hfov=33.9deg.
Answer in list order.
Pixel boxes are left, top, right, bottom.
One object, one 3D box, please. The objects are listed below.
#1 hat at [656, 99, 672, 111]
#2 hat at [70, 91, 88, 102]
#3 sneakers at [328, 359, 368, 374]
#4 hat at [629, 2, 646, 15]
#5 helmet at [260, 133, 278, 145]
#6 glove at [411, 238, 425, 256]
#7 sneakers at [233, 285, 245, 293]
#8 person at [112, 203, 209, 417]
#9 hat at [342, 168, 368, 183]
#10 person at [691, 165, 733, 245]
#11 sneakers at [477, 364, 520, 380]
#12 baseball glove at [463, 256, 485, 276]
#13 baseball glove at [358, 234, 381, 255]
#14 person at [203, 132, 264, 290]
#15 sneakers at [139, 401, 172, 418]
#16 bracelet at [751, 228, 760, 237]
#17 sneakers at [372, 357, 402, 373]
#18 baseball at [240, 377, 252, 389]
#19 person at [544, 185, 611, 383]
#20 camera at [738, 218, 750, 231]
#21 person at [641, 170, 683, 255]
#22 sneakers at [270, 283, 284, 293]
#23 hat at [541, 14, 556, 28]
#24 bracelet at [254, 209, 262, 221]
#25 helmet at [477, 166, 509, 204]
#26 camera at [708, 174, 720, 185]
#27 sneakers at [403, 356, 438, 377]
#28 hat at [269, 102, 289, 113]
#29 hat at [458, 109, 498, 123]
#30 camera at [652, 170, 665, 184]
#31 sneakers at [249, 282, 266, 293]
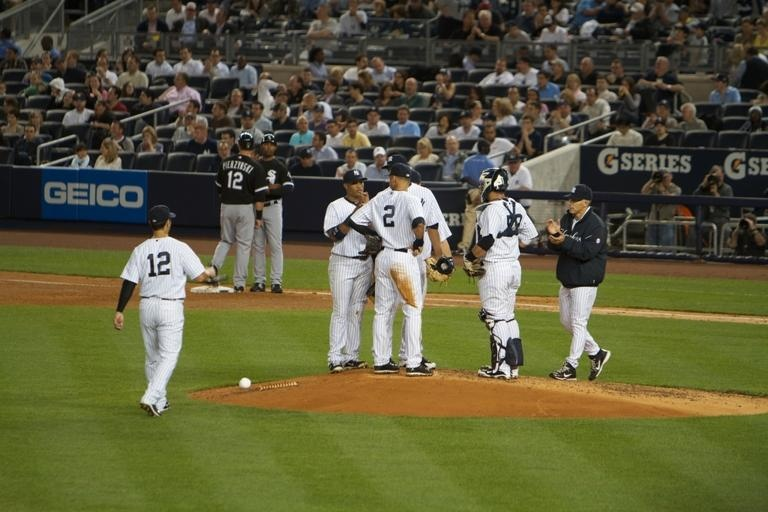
[{"bbox_3d":[6.812,-3.684,30.739,0.278,0.310,0.357,4,18,11],"label":"hat"},{"bbox_3d":[-8.035,-4.131,32.759,0.272,0.309,0.328,2,15,7],"label":"hat"},{"bbox_3d":[-0.614,1.779,20.331,0.664,0.277,0.217,-9,13,-9],"label":"sneakers"},{"bbox_3d":[6.953,-6.724,34.323,0.469,0.233,0.338,-3,11,-43],"label":"hat"},{"bbox_3d":[-2.314,-2.337,24.718,0.316,0.206,0.435,0,-5,-5],"label":"helmet"},{"bbox_3d":[0.496,-0.141,19.726,0.166,0.280,0.287,2,7,1],"label":"glove"},{"bbox_3d":[-2.950,0.660,25.113,0.263,0.105,0.089,6,21,8],"label":"sneakers"},{"bbox_3d":[-3.330,0.833,18.496,1.281,3.061,0.597,0,7,-9],"label":"person"},{"bbox_3d":[-0.577,-1.239,20.333,0.314,0.207,0.419,-11,1,-31],"label":"hat"},{"bbox_3d":[7.593,-1.209,29.083,0.784,1.666,0.725,3,8,14],"label":"person"},{"bbox_3d":[1.769,1.850,20.031,0.578,0.250,0.237,8,8,7],"label":"sneakers"},{"bbox_3d":[1.403,0.171,20.465,0.265,0.284,0.751,-11,6,-24],"label":"baseball glove"},{"bbox_3d":[-0.249,-0.160,19.965,0.324,0.312,0.209,-1,0,16],"label":"baseball glove"},{"bbox_3d":[-2.847,-0.857,24.434,1.040,3.032,0.808,0,7,-8],"label":"person"},{"bbox_3d":[-3.447,2.261,18.592,0.183,0.209,0.506,15,-3,30],"label":"sneakers"},{"bbox_3d":[8.504,-0.533,28.687,0.266,0.155,0.132,-3,8,-34],"label":"bracelet"},{"bbox_3d":[0.005,1.751,20.053,0.473,0.229,0.174,-8,33,-14],"label":"sneakers"},{"bbox_3d":[-2.215,2.010,19.680,0.160,0.119,0.160,31,32,30],"label":"baseball"},{"bbox_3d":[3.121,0.453,20.293,1.019,3.137,0.729,2,7,6],"label":"person"},{"bbox_3d":[8.158,-0.703,28.556,0.222,0.160,0.221,-17,25,-36],"label":"camera"},{"bbox_3d":[6.474,-1.022,29.442,0.776,1.843,0.909,3,7,10],"label":"person"},{"bbox_3d":[-2.208,0.655,25.213,0.187,0.170,0.394,0,-5,-7],"label":"sneakers"},{"bbox_3d":[4.399,-6.279,33.857,0.494,0.330,0.286,8,10,44],"label":"hat"},{"bbox_3d":[-2.459,-0.791,24.526,0.186,0.190,0.173,8,16,13],"label":"bracelet"},{"bbox_3d":[1.691,-1.191,20.228,0.559,0.503,0.421,8,14,24],"label":"helmet"},{"bbox_3d":[7.564,-1.752,28.966,0.278,0.203,0.098,3,7,10],"label":"camera"},{"bbox_3d":[0.559,1.769,19.912,0.584,0.255,0.210,-4,6,-40],"label":"sneakers"},{"bbox_3d":[-2.674,-3.645,30.954,0.377,0.180,0.236,1,4,3],"label":"hat"},{"bbox_3d":[2.179,-3.278,30.061,0.699,0.325,0.415,11,2,1],"label":"hat"},{"bbox_3d":[6.428,-1.850,29.676,0.228,0.254,0.287,17,17,15],"label":"camera"},{"bbox_3d":[-2.571,0.633,25.157,0.133,0.131,0.327,0,-6,25],"label":"sneakers"}]
